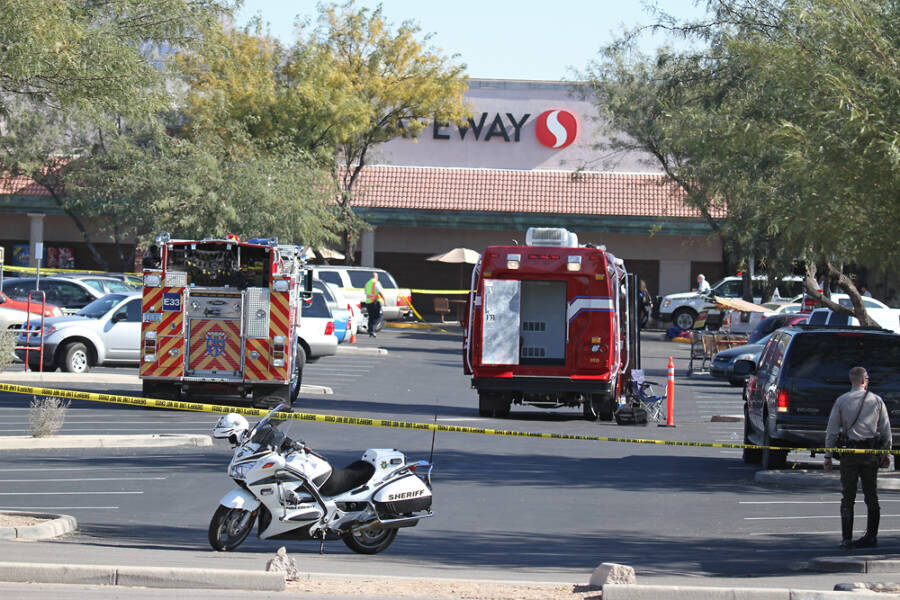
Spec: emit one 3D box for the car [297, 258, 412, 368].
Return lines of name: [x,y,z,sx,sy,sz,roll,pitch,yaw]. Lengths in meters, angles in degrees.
car: [-2.831,-0.414,66.142,4.015,2.925,2.070,0,-1,-1]

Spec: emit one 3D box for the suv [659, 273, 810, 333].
suv: [9.881,0.413,70.957,5.332,2.141,2.386,1,-17,11]

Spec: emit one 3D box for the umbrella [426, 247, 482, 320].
umbrella: [0.149,-0.666,70.131,1.891,2.699,1.474,0,0,29]

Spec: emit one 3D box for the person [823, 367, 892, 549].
person: [7.291,2.764,37.389,1.097,3.186,1.075,1,-1,18]

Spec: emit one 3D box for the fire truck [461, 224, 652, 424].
fire truck: [2.234,0.489,46.634,3.790,4.305,1.424,1,-1,-1]
